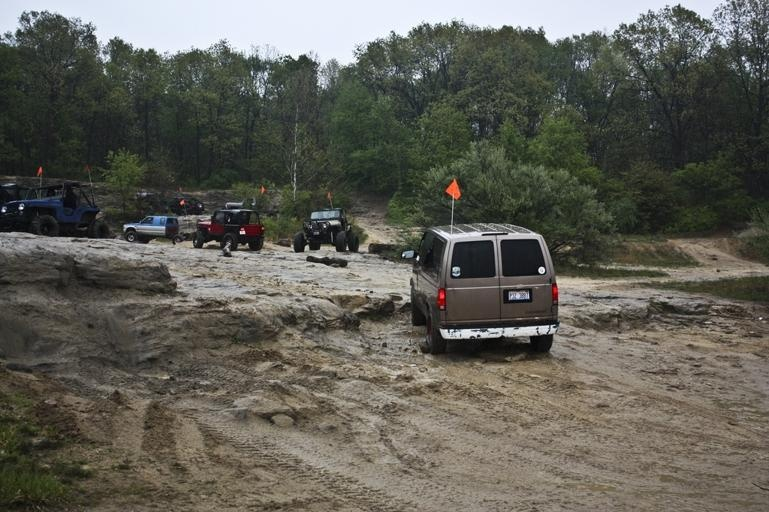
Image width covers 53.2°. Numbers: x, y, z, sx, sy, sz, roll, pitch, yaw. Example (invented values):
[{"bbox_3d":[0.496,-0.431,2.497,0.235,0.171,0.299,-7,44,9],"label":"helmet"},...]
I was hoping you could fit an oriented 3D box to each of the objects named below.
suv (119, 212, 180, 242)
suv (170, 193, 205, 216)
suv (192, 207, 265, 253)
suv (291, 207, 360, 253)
[{"bbox_3d":[-13.656,-1.619,45.307,2.836,1.480,1.573,4,2,4],"label":"suv"},{"bbox_3d":[-16.230,-3.900,62.889,3.299,1.859,2.141,-1,11,5],"label":"suv"},{"bbox_3d":[-8.102,-1.413,40.339,3.485,1.937,2.162,8,7,36],"label":"suv"},{"bbox_3d":[-2.874,-1.359,41.263,2.058,1.554,3.273,-2,-2,10],"label":"suv"}]
